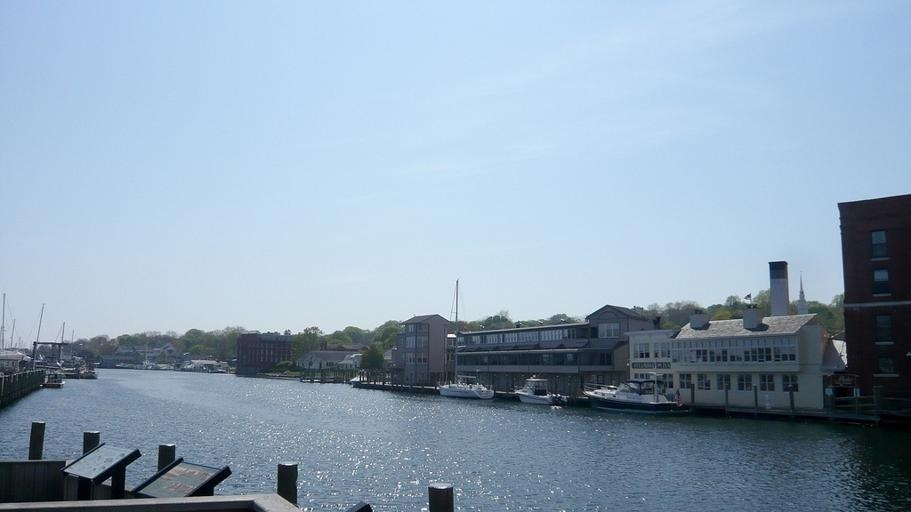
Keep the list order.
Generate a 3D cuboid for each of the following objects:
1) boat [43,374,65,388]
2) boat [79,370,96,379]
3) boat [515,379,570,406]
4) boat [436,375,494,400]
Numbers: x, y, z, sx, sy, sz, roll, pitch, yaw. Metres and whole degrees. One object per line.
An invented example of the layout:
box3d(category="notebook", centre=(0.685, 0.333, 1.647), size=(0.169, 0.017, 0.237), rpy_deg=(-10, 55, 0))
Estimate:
box3d(category="boat", centre=(-86.336, 26.719, 152.430), size=(3.839, 2.111, 6.808), rpy_deg=(2, -11, -22))
box3d(category="boat", centre=(-105.478, 33.646, 202.973), size=(2.570, 2.596, 8.198), rpy_deg=(0, -10, -13))
box3d(category="boat", centre=(14.373, 22.599, 119.038), size=(6.719, 3.778, 10.291), rpy_deg=(0, -2, -11))
box3d(category="boat", centre=(1.875, 24.590, 131.393), size=(4.090, 3.263, 9.216), rpy_deg=(7, -12, -43))
